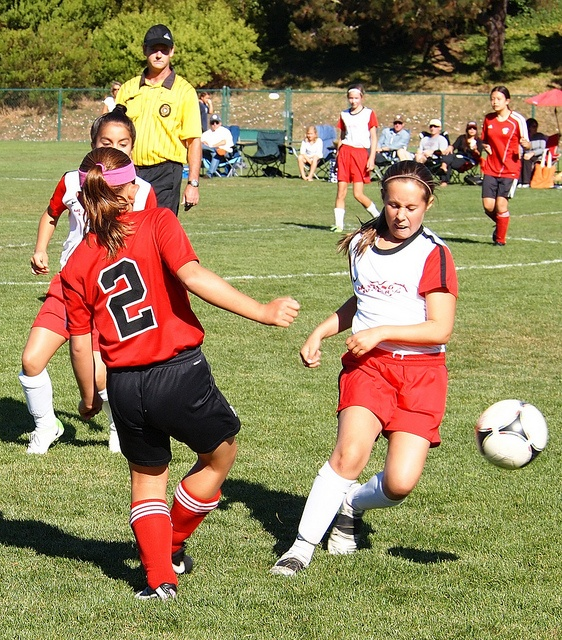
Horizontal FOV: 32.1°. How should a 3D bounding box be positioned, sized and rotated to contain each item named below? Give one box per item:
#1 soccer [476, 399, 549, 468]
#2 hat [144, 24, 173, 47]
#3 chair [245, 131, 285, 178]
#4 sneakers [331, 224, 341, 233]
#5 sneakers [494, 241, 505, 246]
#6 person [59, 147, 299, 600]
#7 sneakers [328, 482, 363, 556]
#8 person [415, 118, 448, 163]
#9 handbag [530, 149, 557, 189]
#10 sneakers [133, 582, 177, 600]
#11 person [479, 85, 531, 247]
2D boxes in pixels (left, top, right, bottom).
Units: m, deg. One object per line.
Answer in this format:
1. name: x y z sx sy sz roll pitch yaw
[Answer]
1. soccer: 0.882 0.431 3.783 0.243 0.267 0.247 -2 11 0
2. hat: -0.811 -1.875 6.438 0.183 0.160 0.245 -1 10 -8
3. chair: -0.292 -4.126 24.047 0.951 1.227 0.968 4 0 -7
4. sneakers: 0.757 -1.248 13.347 0.106 0.059 0.139 5 -5 5
5. sneakers: 2.693 -0.951 12.063 0.142 0.067 0.049 1 18 -14
6. person: -0.398 0.199 3.384 0.967 1.555 0.366 6 12 30
7. sneakers: 0.251 0.810 3.949 0.102 0.314 0.126 13 -8 -29
8. person: 3.284 -3.876 21.182 0.662 0.906 1.307 2 10 9
9. handbag: 5.836 -3.372 21.764 0.521 0.854 0.782 3 11 15
10. sneakers: -0.430 0.927 3.376 0.146 0.073 0.056 4 1 3
11. person: 2.693 -1.841 11.748 0.553 1.913 0.817 2 10 12
